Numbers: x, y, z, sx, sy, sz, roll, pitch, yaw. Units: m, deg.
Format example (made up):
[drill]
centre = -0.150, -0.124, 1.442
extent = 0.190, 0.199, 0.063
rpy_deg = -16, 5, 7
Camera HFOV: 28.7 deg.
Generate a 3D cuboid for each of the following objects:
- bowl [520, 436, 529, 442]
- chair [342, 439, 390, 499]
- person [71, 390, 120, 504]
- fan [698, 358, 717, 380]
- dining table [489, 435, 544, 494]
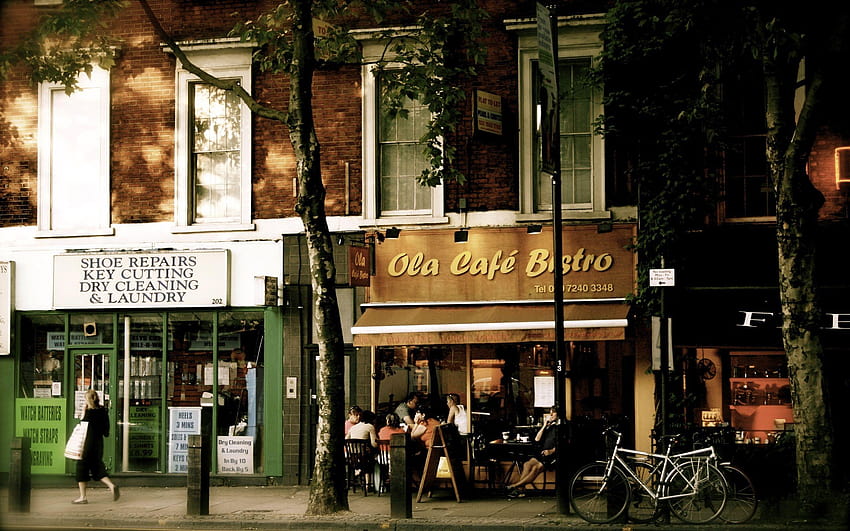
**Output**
[bowl]
centre = 2.379, 4.155, 39.731
extent = 0.127, 0.090, 0.138
rpy_deg = 1, 1, 0
[chair]
centre = -1.393, 4.826, 39.647
extent = 1.031, 1.282, 0.719
rpy_deg = 0, -8, -3
[person]
centre = -8.049, 4.394, 39.623
extent = 0.917, 2.499, 1.192
rpy_deg = -2, -4, 23
[fan]
centre = 6.816, 2.494, 40.110
extent = 0.397, 0.502, 0.116
rpy_deg = -2, -8, 9
[dining table]
centre = 2.164, 4.764, 39.987
extent = 1.201, 1.148, 1.188
rpy_deg = 0, -13, 4
